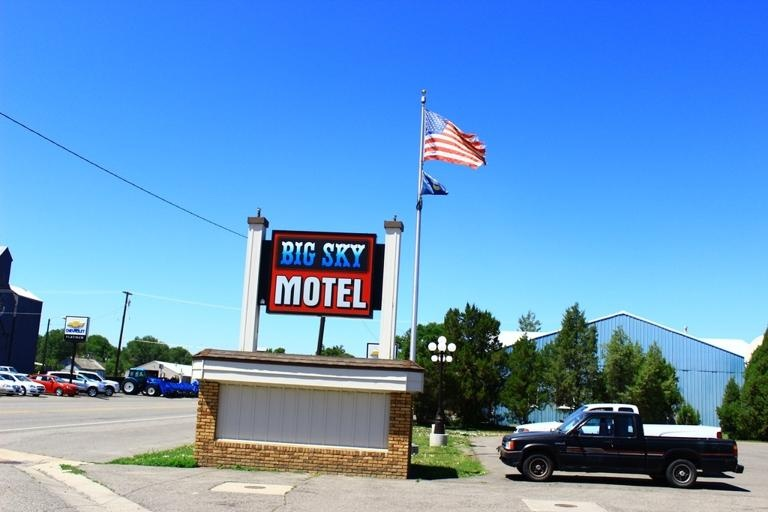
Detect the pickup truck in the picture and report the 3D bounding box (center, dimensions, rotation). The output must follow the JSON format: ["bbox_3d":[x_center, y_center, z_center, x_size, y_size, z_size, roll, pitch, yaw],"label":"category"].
[{"bbox_3d":[8.809,7.512,25.247,7.625,2.592,3.617,3,-16,-1],"label":"pickup truck"}]
